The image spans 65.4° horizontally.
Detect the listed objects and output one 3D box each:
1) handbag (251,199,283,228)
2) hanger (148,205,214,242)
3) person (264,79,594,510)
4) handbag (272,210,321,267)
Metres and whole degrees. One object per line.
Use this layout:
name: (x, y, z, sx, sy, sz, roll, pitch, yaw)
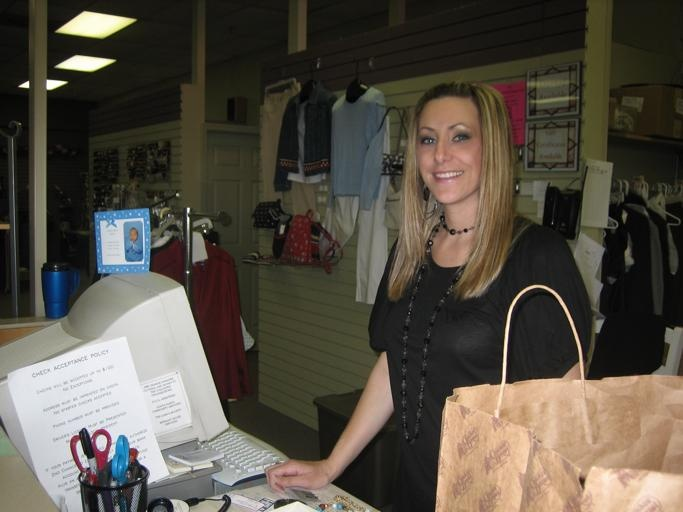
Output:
handbag: (-0.706, -0.387, 4.933, 0.290, 0.310, 0.249, 4, 5, 33)
hanger: (-1.089, -0.231, 3.568, 0.332, 0.189, 0.488, 8, 11, 36)
person: (0.341, 0.091, 2.401, 1.107, 2.158, 1.256, 3, -4, -28)
handbag: (-0.349, -0.074, 4.525, 0.492, 0.600, 0.348, -1, -5, 41)
